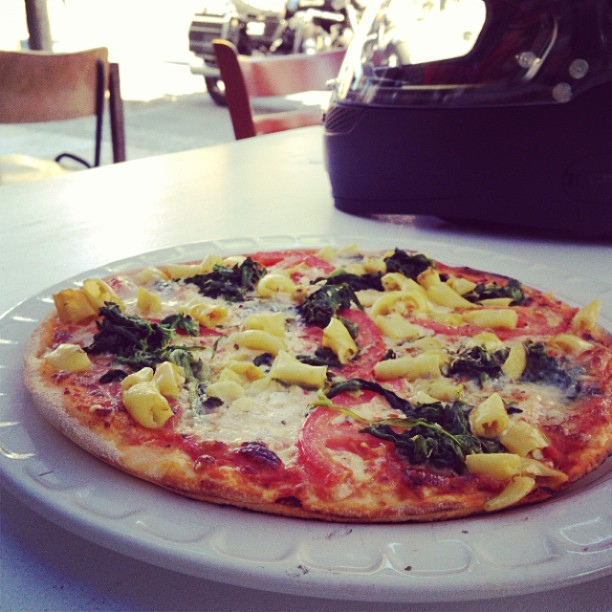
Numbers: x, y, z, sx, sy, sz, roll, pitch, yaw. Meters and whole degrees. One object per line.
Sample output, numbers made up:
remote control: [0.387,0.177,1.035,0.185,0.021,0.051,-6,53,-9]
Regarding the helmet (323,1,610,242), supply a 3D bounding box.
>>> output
helmet: [0.288,-0.425,1.439,0.730,0.418,0.442,9,29,12]
